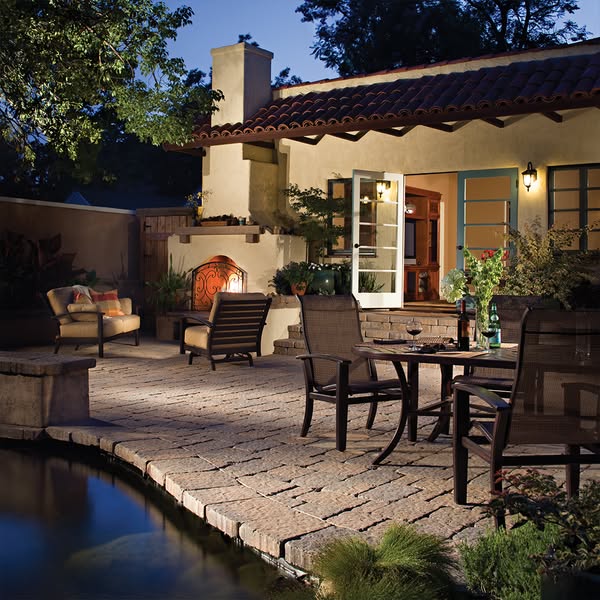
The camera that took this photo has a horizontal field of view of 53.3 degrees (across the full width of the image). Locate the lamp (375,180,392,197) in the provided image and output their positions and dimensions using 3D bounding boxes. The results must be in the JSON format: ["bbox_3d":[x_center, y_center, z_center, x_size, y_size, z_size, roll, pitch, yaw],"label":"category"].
[{"bbox_3d":[1.493,-1.960,10.558,0.303,0.272,0.070,1,4,-35],"label":"lamp"}]

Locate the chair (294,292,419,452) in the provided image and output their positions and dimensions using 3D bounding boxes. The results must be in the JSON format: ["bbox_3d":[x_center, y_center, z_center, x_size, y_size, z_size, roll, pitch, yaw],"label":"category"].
[{"bbox_3d":[0.412,0.511,4.578,0.810,1.121,0.942,-1,2,-7],"label":"chair"}]

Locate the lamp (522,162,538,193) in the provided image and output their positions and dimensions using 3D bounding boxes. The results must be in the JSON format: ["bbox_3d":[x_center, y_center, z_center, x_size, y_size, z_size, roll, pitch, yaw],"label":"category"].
[{"bbox_3d":[3.704,-2.000,9.680,0.224,0.488,0.161,1,5,43],"label":"lamp"}]

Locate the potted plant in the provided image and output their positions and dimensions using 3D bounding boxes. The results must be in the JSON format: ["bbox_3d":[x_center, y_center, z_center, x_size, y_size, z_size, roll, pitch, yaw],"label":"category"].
[{"bbox_3d":[0.301,-1.215,11.161,1.459,2.148,1.946,-2,4,2],"label":"potted plant"}]

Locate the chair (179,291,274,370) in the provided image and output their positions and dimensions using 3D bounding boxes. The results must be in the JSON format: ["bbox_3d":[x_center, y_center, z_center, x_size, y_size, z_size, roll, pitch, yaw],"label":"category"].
[{"bbox_3d":[-1.036,0.438,8.311,0.847,1.016,1.191,-1,0,-35],"label":"chair"}]

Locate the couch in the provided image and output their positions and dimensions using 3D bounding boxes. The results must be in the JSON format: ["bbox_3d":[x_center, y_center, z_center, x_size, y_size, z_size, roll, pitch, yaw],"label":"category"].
[{"bbox_3d":[-3.234,0.320,9.620,0.984,0.971,1.765,2,3,0],"label":"couch"}]

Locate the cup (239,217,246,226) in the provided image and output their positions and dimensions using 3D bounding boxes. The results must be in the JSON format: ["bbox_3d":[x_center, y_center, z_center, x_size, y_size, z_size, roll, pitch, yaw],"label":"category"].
[{"bbox_3d":[-1.056,-1.484,11.372,0.144,0.161,0.156,0,0,0],"label":"cup"}]

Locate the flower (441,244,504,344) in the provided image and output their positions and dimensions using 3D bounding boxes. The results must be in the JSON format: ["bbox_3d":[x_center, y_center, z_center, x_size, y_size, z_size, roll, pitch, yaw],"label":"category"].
[{"bbox_3d":[1.262,-0.061,4.243,0.421,0.628,0.403,-9,25,17],"label":"flower"}]

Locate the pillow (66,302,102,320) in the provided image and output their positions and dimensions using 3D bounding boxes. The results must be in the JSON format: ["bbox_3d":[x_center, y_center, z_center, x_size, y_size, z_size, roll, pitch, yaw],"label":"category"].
[{"bbox_3d":[-3.177,0.186,8.954,0.696,0.266,0.350,1,5,42],"label":"pillow"}]

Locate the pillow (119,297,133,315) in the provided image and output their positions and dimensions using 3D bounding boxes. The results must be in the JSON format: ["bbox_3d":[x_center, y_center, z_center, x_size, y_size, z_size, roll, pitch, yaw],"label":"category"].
[{"bbox_3d":[-2.937,0.114,10.293,0.252,0.248,0.109,-5,-14,5],"label":"pillow"}]
